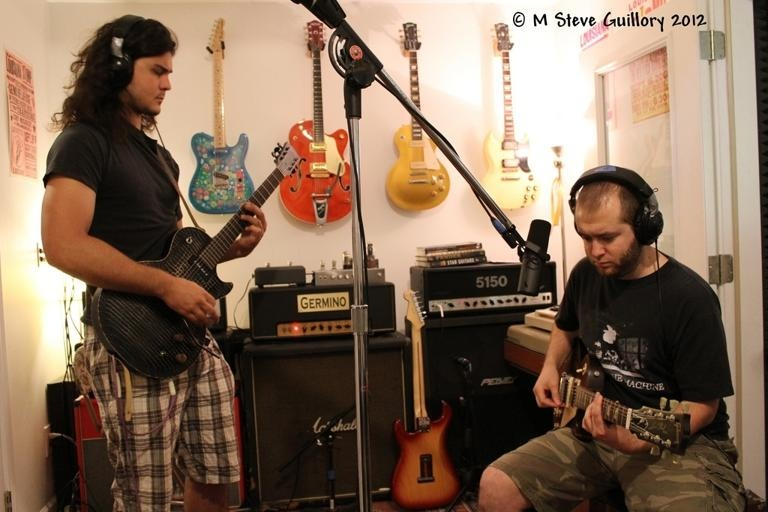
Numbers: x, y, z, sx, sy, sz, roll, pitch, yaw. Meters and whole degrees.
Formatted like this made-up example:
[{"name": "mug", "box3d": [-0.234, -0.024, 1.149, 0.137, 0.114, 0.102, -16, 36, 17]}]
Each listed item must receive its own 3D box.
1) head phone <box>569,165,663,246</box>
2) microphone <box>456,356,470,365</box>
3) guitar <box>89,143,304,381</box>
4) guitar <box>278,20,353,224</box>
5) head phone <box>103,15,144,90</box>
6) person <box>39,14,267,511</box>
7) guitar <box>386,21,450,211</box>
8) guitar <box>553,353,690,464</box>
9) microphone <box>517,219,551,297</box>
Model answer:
[{"name": "head phone", "box3d": [1.054, -0.203, 3.064, 0.424, 0.407, 0.172, -1, -28, 9]}, {"name": "microphone", "box3d": [0.507, 0.672, 4.183, 0.078, 0.044, 0.035, 5, 7, 26]}, {"name": "guitar", "box3d": [-0.863, 0.002, 3.174, 0.538, 1.292, 0.182, 45, -34, -23]}, {"name": "guitar", "box3d": [-0.492, -0.938, 4.601, 0.475, 1.181, 0.128, -1, 0, -10]}, {"name": "head phone", "box3d": [-1.244, -0.989, 3.131, 0.123, 0.307, 0.337, 9, 13, -16]}, {"name": "person", "box3d": [-1.128, 0.073, 3.109, 0.824, 1.659, 0.455, -1, 0, -15]}, {"name": "guitar", "box3d": [0.244, -0.990, 4.710, 0.479, 1.194, 0.208, -1, 0, 0]}, {"name": "guitar", "box3d": [1.123, 0.694, 3.079, 0.581, 0.300, 0.593, 13, 8, 40]}, {"name": "microphone", "box3d": [0.647, 0.008, 2.868, 0.125, 0.363, 0.122, 13, -22, 9]}]
